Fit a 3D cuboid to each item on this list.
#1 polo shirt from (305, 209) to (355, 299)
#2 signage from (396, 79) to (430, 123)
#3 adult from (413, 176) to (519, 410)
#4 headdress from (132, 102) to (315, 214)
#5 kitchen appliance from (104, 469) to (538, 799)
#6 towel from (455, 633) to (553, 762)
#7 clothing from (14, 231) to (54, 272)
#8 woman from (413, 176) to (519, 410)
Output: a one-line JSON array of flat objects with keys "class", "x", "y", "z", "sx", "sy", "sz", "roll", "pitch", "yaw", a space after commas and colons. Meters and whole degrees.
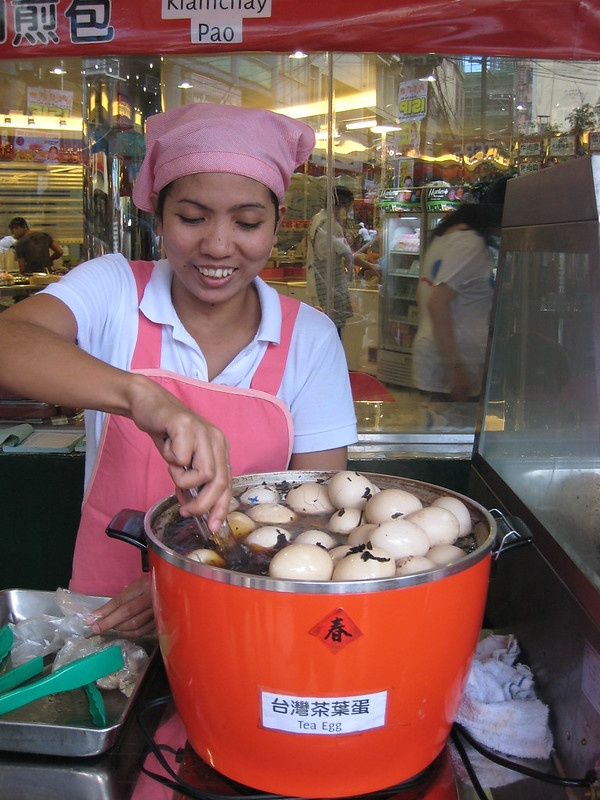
[{"class": "polo shirt", "x": 0.154, "y": -0.766, "z": 3.726, "sx": 0.226, "sy": 0.535, "sz": 0.405, "roll": -8, "pitch": 5, "yaw": -18}, {"class": "signage", "x": 0.569, "y": -1.509, "z": 3.260, "sx": 0.184, "sy": 0.212, "sz": 0.018, "roll": 21, "pitch": 42, "yaw": 31}, {"class": "adult", "x": 0.615, "y": -0.427, "z": 2.616, "sx": 0.333, "sy": 0.809, "sz": 0.500, "roll": -1, "pitch": 11, "yaw": 9}, {"class": "headdress", "x": -0.125, "y": -0.408, "z": 1.081, "sx": 0.319, "sy": 0.158, "sz": 0.276, "roll": -4, "pitch": 10, "yaw": -9}, {"class": "kitchen appliance", "x": 0.010, "y": 0.181, "z": 0.687, "sx": 0.373, "sy": 0.196, "sz": 0.293, "roll": 0, "pitch": 3, "yaw": -4}, {"class": "towel", "x": 0.251, "y": 0.349, "z": 0.830, "sx": 0.106, "sy": 0.068, "sz": 0.021, "roll": -35, "pitch": -12, "yaw": 39}, {"class": "clothing", "x": -1.837, "y": -1.040, "z": 4.479, "sx": 0.239, "sy": 0.298, "sz": 0.114, "roll": -7, "pitch": 54, "yaw": -25}, {"class": "woman", "x": 0.615, "y": -0.427, "z": 2.615, "sx": 0.333, "sy": 0.809, "sz": 0.498, "roll": -1, "pitch": 11, "yaw": 9}]
